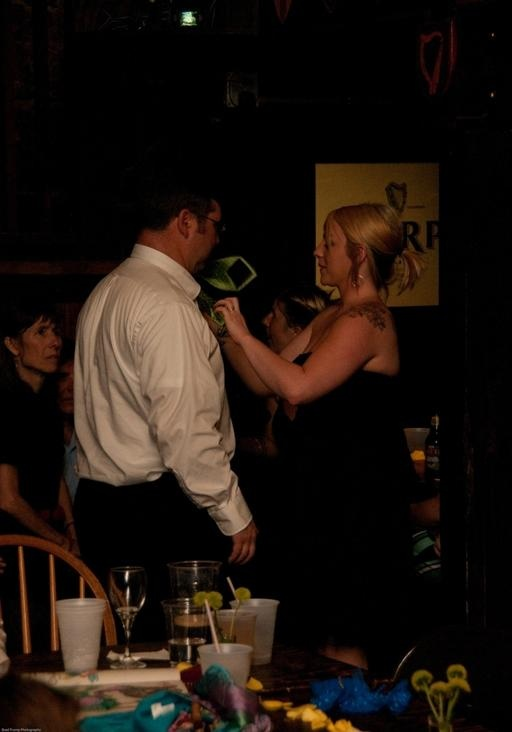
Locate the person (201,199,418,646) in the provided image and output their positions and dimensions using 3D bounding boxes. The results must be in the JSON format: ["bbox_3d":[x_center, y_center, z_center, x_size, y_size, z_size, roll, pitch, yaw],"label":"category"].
[{"bbox_3d":[0.172,0.164,2.103,0.500,1.187,0.335,-1,0,11],"label":"person"}]

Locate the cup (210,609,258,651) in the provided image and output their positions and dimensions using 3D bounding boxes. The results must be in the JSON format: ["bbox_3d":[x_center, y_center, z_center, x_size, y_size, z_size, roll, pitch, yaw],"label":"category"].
[{"bbox_3d":[-0.028,0.394,1.157,0.064,0.063,0.064,0,5,0],"label":"cup"}]

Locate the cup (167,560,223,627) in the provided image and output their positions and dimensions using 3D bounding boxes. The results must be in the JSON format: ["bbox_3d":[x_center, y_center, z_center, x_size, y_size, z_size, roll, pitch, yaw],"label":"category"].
[{"bbox_3d":[-0.096,0.346,1.210,0.072,0.051,0.065,-2,-7,23],"label":"cup"}]

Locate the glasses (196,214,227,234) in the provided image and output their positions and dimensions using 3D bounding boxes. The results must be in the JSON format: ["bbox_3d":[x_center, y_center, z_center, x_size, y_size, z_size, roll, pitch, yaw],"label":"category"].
[{"bbox_3d":[-0.143,-0.430,2.305,0.058,0.017,0.055,13,-1,26],"label":"glasses"}]

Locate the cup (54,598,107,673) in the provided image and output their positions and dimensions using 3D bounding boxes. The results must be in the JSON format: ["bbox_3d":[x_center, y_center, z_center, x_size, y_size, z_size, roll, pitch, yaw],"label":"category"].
[{"bbox_3d":[-0.248,0.387,1.103,0.071,0.073,0.075,-1,0,0],"label":"cup"}]

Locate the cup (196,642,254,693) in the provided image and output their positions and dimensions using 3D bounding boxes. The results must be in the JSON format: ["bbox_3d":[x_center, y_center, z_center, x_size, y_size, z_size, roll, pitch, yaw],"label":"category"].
[{"bbox_3d":[-0.035,0.379,0.979,0.074,0.052,0.068,0,-4,0],"label":"cup"}]

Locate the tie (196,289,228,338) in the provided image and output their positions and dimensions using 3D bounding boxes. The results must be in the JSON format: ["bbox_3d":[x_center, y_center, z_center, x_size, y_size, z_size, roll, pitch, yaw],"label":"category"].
[{"bbox_3d":[-0.189,-0.214,3.054,0.082,0.087,0.291,-3,43,-24],"label":"tie"}]
